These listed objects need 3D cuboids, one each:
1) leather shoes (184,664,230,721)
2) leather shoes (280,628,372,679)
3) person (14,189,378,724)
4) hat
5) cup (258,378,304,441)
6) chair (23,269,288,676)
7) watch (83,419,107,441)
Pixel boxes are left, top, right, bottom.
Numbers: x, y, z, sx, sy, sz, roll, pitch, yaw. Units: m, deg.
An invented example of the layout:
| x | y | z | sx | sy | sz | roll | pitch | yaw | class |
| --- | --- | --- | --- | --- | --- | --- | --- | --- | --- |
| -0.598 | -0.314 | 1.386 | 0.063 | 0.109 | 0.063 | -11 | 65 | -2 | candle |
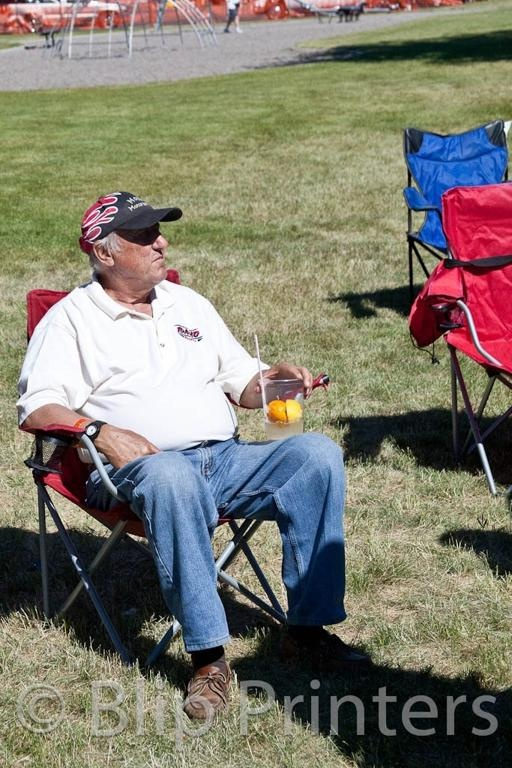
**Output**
| x | y | z | sx | sy | sz | roll | pitch | yaw | class |
| --- | --- | --- | --- | --- | --- | --- | --- | --- | --- |
| -0.142 | 0.883 | 3.009 | 0.110 | 0.093 | 0.254 | 5 | 19 | 3 | leather shoes |
| 0.201 | 0.836 | 3.148 | 0.297 | 0.132 | 0.120 | 4 | 5 | 8 | leather shoes |
| -0.244 | 0.142 | 3.257 | 0.970 | 1.456 | 1.077 | -10 | 16 | -27 | person |
| -0.438 | -0.578 | 3.444 | 0.360 | 0.185 | 0.231 | -15 | 8 | 20 | hat |
| 0.080 | 0.093 | 3.329 | 0.167 | 0.225 | 0.148 | -3 | 5 | -21 | cup |
| -0.312 | 0.273 | 3.336 | 0.878 | 1.107 | 0.833 | -4 | 10 | -19 | chair |
| -0.474 | 0.133 | 2.985 | 0.041 | 0.060 | 0.065 | 13 | 60 | 22 | watch |
